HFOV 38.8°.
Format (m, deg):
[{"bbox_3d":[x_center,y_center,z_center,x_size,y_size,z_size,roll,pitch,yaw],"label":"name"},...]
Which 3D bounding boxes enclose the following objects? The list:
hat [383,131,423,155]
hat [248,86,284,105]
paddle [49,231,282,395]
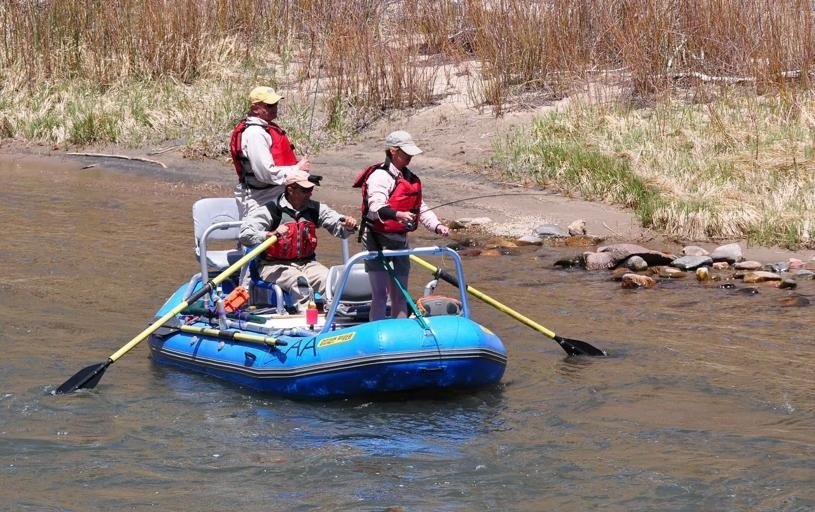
[{"bbox_3d":[-0.077,-1.364,13.936,0.369,0.293,0.408,1,5,-8],"label":"hat"},{"bbox_3d":[-1.872,-2.102,15.145,0.482,0.169,0.269,0,6,-2],"label":"hat"},{"bbox_3d":[-3.160,0.818,15.162,4.371,0.416,0.312,-26,-6,-8],"label":"paddle"}]
